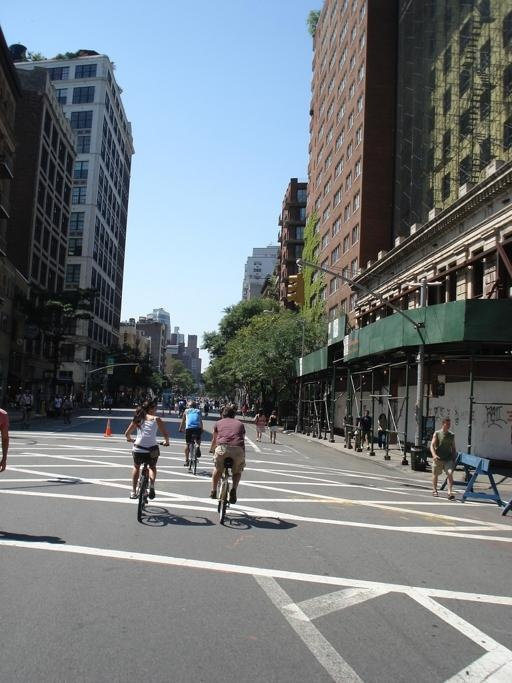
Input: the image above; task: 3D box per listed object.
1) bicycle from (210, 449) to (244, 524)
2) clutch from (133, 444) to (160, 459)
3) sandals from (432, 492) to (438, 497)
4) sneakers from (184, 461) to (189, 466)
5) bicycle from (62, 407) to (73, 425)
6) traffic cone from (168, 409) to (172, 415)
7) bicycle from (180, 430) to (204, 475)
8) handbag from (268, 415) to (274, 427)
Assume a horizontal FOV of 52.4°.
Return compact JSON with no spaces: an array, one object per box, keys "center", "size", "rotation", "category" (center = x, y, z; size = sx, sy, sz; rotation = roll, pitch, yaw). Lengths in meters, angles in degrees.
[{"center":[-0.501,2.373,8.462],"size":[0.457,0.682,1.055],"rotation":[13,-13,1],"category":"bicycle"},{"center":[-1.759,1.756,8.288],"size":[0.400,0.224,0.267],"rotation":[8,-8,-19],"category":"clutch"},{"center":[4.496,3.828,13.011],"size":[0.086,0.140,0.325],"rotation":[-2,-22,4],"category":"sandals"},{"center":[-2.101,3.701,15.651],"size":[0.156,0.120,0.264],"rotation":[-3,-1,-2],"category":"sneakers"},{"center":[-13.834,5.407,37.993],"size":[0.452,1.067,3.046],"rotation":[6,-8,-21],"category":"bicycle"},{"center":[-13.753,11.176,82.422],"size":[0.559,0.891,1.183],"rotation":[0,-5,-2],"category":"traffic cone"},{"center":[-1.789,2.973,14.587],"size":[0.583,0.889,1.339],"rotation":[1,-1,-8],"category":"bicycle"},{"center":[0.894,4.589,29.779],"size":[0.279,0.691,1.080],"rotation":[3,-8,4],"category":"handbag"}]
